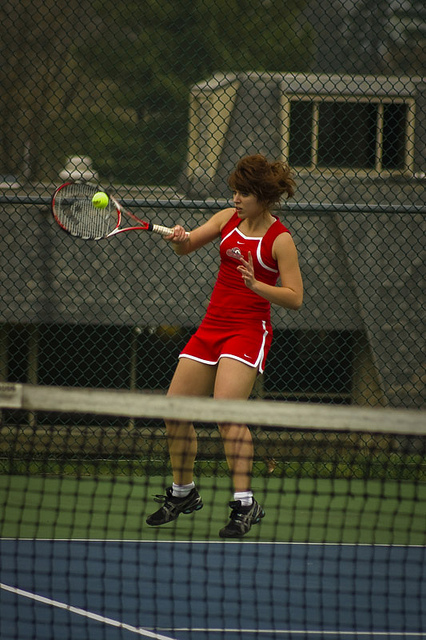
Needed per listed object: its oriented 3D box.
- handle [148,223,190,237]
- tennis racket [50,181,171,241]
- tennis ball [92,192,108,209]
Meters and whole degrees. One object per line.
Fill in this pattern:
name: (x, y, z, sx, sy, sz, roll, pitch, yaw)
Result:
handle: (-0.226, -0.391, 2.961, 0.110, 0.048, 0.121, 3, 4, -7)
tennis racket: (-0.464, -0.515, 3.637, 0.097, 0.275, 1.021, -5, -5, 31)
tennis ball: (-0.532, -0.565, 3.236, 0.076, 0.078, 0.075, -1, 13, 0)
